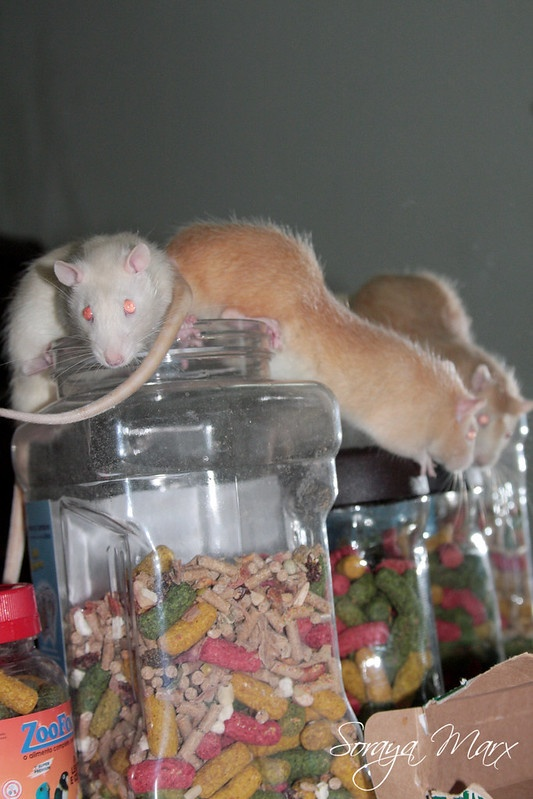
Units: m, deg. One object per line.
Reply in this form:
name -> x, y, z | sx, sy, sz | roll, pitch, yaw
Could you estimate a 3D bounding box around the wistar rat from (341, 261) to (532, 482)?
wistar rat -> 0.185, -0.043, 0.973 | 0.136, 0.265, 0.141 | -39, -4, 32
